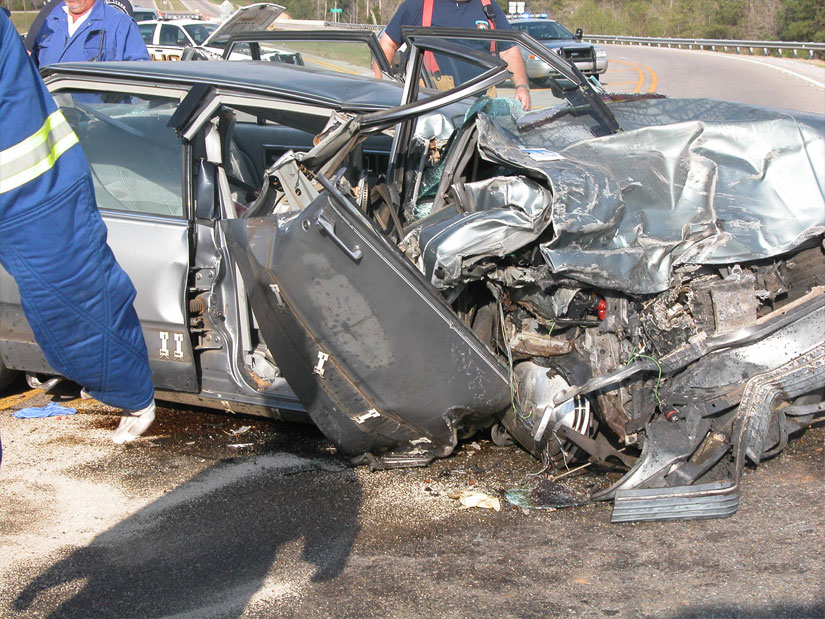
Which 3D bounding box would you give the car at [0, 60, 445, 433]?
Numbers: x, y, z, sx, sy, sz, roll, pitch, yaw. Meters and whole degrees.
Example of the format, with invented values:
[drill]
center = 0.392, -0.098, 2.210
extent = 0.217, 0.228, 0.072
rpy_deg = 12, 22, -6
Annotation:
[car]
center = -0.632, -0.546, 5.132
extent = 2.943, 1.399, 1.689
rpy_deg = 2, 24, 8
